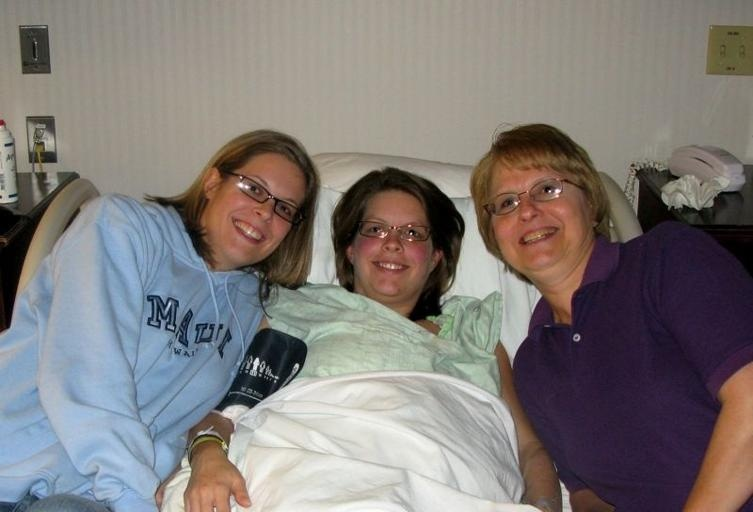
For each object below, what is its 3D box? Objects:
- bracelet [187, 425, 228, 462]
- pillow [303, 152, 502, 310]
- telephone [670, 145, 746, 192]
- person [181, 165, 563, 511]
[{"bbox_3d":[-0.570,0.633,2.045,0.137,0.091,0.124,0,7,-16],"label":"bracelet"},{"bbox_3d":[0.106,-0.075,2.555,0.561,0.604,0.182,3,-10,-8],"label":"pillow"},{"bbox_3d":[1.557,-0.445,2.938,0.189,0.178,0.334,-10,33,-44],"label":"telephone"},{"bbox_3d":[0.133,0.434,2.486,1.071,0.496,1.328,5,49,-1],"label":"person"}]
